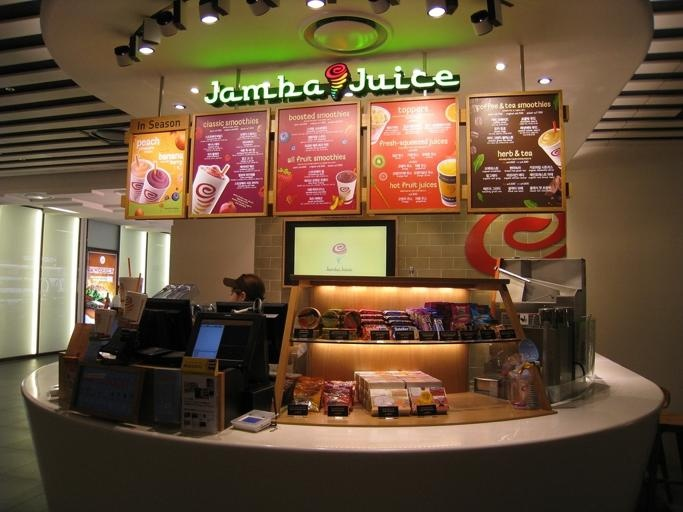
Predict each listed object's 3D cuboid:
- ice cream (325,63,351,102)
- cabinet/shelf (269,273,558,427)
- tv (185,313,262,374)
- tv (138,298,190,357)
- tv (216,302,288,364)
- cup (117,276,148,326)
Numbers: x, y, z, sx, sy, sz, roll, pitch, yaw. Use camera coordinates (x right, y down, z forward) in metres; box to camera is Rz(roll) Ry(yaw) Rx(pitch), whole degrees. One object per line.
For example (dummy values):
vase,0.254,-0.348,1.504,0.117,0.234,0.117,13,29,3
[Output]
ice cream,-0.028,-1.480,4.301,0.214,0.266,0.304,2,-2,0
cabinet/shelf,0.455,0.600,3.581,1.825,0.926,0.936,2,-2,-8
tv,-0.743,0.553,3.276,0.508,0.368,0.226,2,-2,14
tv,-1.220,0.495,3.493,0.358,0.410,0.041,3,0,12
tv,-0.596,0.528,3.426,0.449,0.426,0.161,2,6,16
cup,-1.435,0.297,3.471,0.176,0.318,0.452,3,-2,-23
